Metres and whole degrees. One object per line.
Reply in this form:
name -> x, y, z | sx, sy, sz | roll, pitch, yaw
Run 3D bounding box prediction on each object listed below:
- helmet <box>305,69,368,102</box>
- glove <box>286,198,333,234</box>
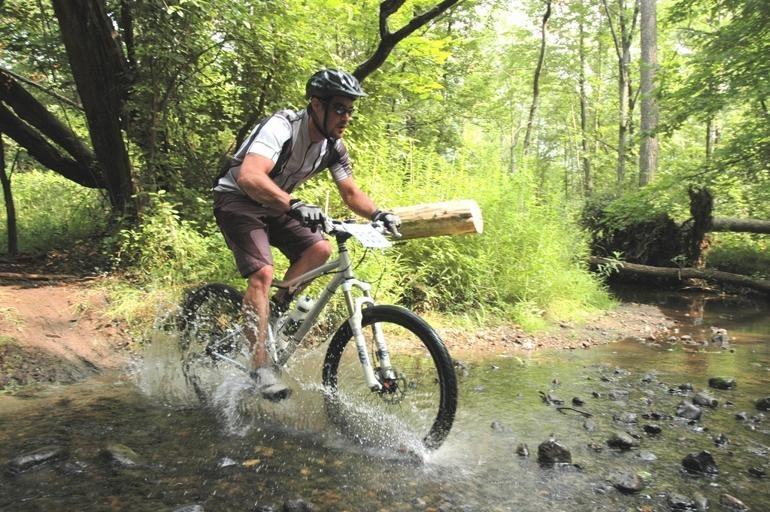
helmet -> -0.689, -2.361, 8.899 | 0.749, 0.245, 0.446 | 4, 17, 16
glove -> -1.006, -0.542, 8.793 | 0.608, 0.195, 0.425 | 30, 9, 11
